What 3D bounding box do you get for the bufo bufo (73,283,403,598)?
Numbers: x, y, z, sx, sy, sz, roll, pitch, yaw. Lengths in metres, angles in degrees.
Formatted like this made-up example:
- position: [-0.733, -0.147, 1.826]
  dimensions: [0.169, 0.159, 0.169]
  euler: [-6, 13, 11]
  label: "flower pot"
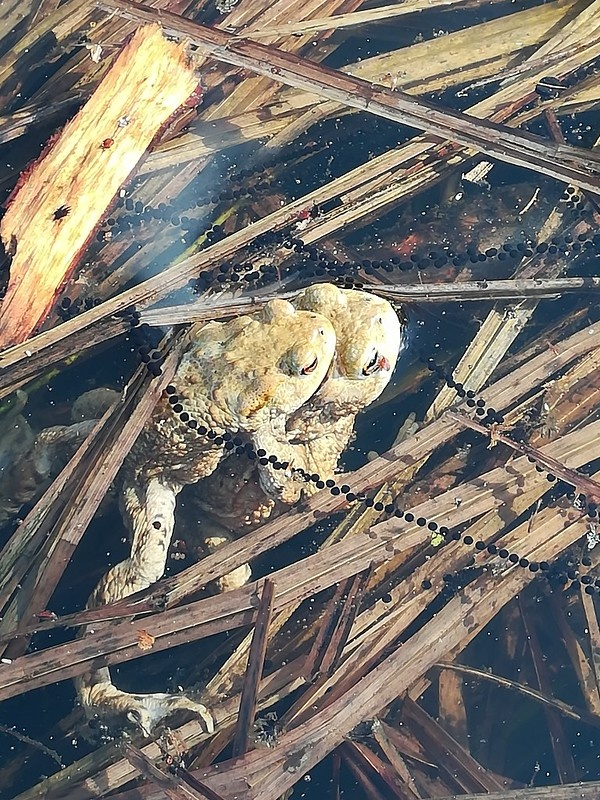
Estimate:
- position: [-0.212, 0.356, 10.544]
  dimensions: [3.493, 1.239, 2.618]
  euler: [-41, 74, 21]
  label: "bufo bufo"
